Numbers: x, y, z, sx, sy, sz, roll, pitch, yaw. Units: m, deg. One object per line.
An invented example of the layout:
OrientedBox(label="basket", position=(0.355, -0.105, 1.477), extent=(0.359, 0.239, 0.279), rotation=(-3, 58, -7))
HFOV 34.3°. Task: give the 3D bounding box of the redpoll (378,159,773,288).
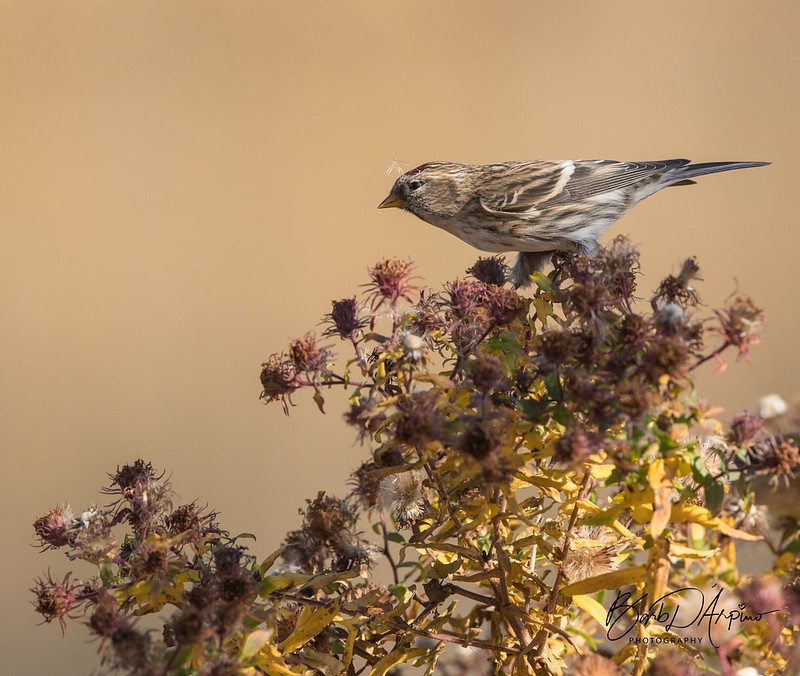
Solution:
OrientedBox(label="redpoll", position=(0.615, -0.420, 4.308), extent=(1.198, 0.409, 0.480), rotation=(-10, -86, -6))
